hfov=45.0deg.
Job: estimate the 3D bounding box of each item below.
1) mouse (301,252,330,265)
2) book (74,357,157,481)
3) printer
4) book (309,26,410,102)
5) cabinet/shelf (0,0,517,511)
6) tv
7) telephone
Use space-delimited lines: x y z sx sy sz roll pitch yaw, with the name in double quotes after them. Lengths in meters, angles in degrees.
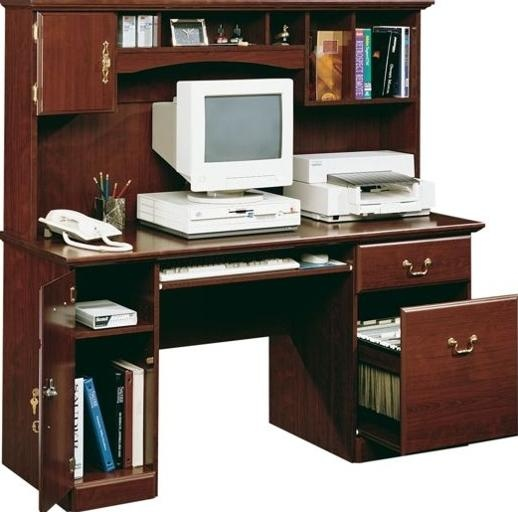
0.226 0.009 2.497 0.110 0.033 0.112 -2 13 1 "mouse"
-0.479 0.559 2.275 0.330 0.437 0.466 -1 5 -12 "book"
0.410 -0.323 2.801 0.463 0.227 0.398 -5 10 -25 "printer"
0.443 -0.889 2.871 0.410 0.278 0.209 -2 4 -22 "book"
-0.133 -0.064 2.406 2.008 1.844 0.684 -3 6 -27 "cabinet/shelf"
-0.150 -0.464 2.576 0.467 0.399 0.490 -3 10 -23 "tv"
-0.643 -0.146 2.231 0.226 0.070 0.139 17 24 32 "telephone"
